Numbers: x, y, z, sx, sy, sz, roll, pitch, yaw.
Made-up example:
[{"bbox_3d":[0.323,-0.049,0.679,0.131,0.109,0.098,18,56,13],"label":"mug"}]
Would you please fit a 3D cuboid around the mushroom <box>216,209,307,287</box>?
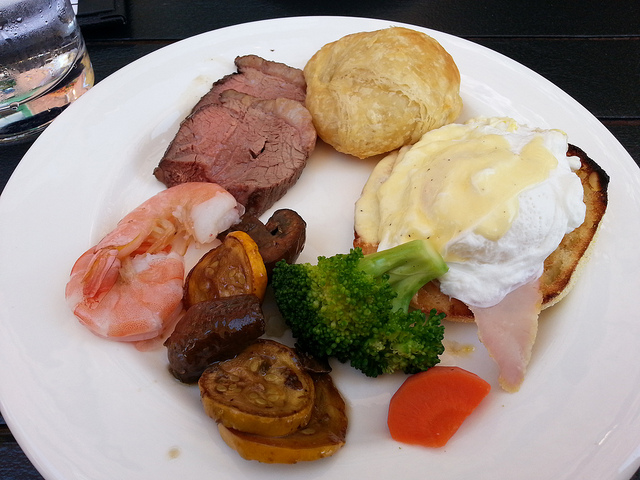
[{"bbox_3d":[-0.234,-0.016,3.391,0.416,0.112,0.405,-5,48,9],"label":"mushroom"}]
